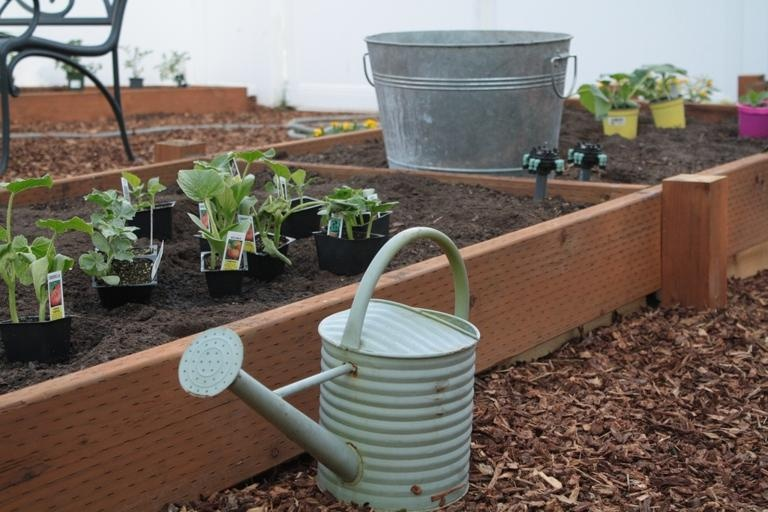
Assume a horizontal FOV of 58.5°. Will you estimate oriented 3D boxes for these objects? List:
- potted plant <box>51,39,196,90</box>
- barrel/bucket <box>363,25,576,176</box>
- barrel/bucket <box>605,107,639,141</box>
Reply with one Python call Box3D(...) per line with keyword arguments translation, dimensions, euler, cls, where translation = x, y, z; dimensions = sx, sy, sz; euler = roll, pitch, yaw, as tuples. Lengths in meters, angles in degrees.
Box3D(translation=(-2.569, -2.026, 7.251), dimensions=(1.608, 0.597, 0.474), euler=(-2, 9, -12), cls="potted plant")
Box3D(translation=(0.467, -0.874, 4.060), dimensions=(1.182, 0.790, 0.393), euler=(3, 19, 12), cls="barrel/bucket")
Box3D(translation=(1.729, -0.959, 5.040), dimensions=(0.244, 0.183, 0.254), euler=(0, 1, 0), cls="barrel/bucket")
